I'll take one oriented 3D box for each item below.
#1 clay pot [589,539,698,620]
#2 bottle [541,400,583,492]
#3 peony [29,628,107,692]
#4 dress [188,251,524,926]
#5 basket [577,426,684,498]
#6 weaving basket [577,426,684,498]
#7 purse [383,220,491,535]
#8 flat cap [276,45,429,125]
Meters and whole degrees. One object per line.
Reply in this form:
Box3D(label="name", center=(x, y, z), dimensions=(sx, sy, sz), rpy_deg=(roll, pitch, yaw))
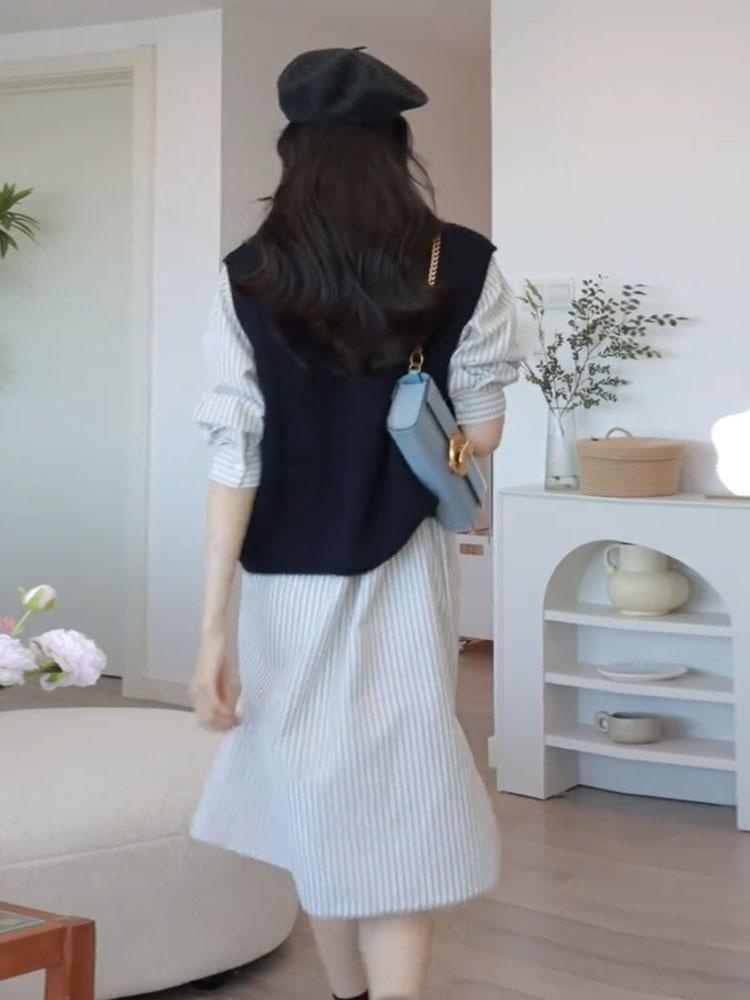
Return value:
Box3D(label="clay pot", center=(0.810, 0.219, 3.009), dimensions=(0.254, 0.206, 0.239), rpy_deg=(-1, 8, 0))
Box3D(label="bottle", center=(0.586, -0.159, 3.122), dimensions=(0.100, 0.248, 0.171), rpy_deg=(3, 2, 10))
Box3D(label="peony", center=(-0.409, 0.215, 1.364), dimensions=(0.116, 0.099, 0.052), rpy_deg=(6, 10, -16))
Box3D(label="dress", center=(-0.030, 0.102, 1.115), dimensions=(0.356, 0.750, 0.186), rpy_deg=(2, 2, 6))
Box3D(label="basket", center=(0.750, -0.130, 2.908), dimensions=(0.266, 0.138, 0.243), rpy_deg=(1, 9, 11))
Box3D(label="weaving basket", center=(0.750, -0.106, 2.907), dimensions=(0.266, 0.138, 0.243), rpy_deg=(1, 9, 11))
Box3D(label="purse", center=(0.061, -0.138, 1.072), dimensions=(0.058, 0.225, 0.308), rpy_deg=(0, -33, 16))
Box3D(label="flat cap", center=(-0.016, -0.446, 1.071), dimensions=(0.132, 0.053, 0.092), rpy_deg=(2, 11, -4))
